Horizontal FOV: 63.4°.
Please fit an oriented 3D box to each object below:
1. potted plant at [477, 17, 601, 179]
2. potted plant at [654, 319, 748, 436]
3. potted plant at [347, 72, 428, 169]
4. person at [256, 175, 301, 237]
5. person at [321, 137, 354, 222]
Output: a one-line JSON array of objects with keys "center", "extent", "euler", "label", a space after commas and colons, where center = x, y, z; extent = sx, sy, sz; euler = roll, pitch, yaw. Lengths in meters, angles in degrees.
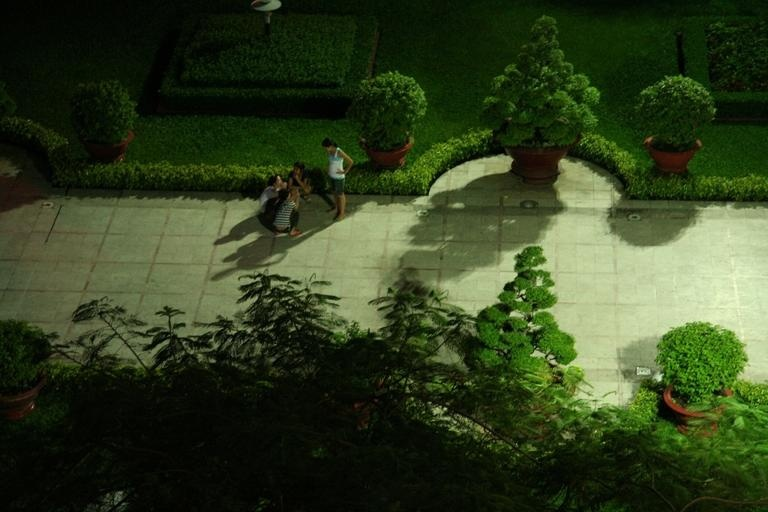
[{"center": [3.175, -3.096, 12.755], "extent": [2.121, 3.357, 0.806], "euler": [3, 25, 5], "label": "potted plant"}, {"center": [4.789, 1.909, 9.417], "extent": [1.290, 1.315, 1.228], "euler": [6, 38, 12], "label": "potted plant"}, {"center": [0.064, -3.165, 14.148], "extent": [2.533, 2.285, 1.930], "euler": [-2, 35, -2], "label": "potted plant"}, {"center": [-2.196, -0.994, 13.012], "extent": [0.872, 1.064, 0.827], "euler": [32, 56, 14], "label": "person"}, {"center": [-0.977, -1.611, 12.976], "extent": [0.552, 1.772, 0.669], "euler": [-2, 25, -4], "label": "person"}]
